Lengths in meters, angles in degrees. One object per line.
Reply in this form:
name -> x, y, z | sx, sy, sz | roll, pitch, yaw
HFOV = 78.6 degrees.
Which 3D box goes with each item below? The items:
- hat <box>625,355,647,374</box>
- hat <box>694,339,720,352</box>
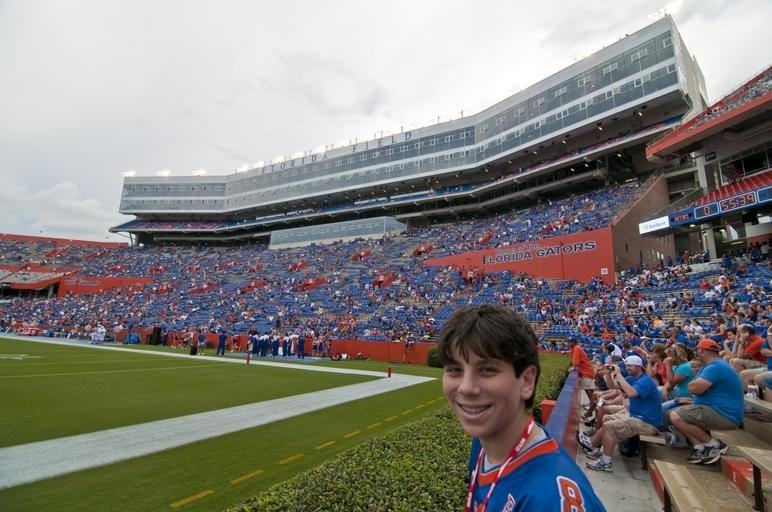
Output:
hat -> 5.428, 2.313, 10.260 | 0.336, 0.300, 0.335 | -6, -12, 19
hat -> 6.861, 1.896, 9.990 | 0.355, 0.271, 0.237 | -7, -12, 25
